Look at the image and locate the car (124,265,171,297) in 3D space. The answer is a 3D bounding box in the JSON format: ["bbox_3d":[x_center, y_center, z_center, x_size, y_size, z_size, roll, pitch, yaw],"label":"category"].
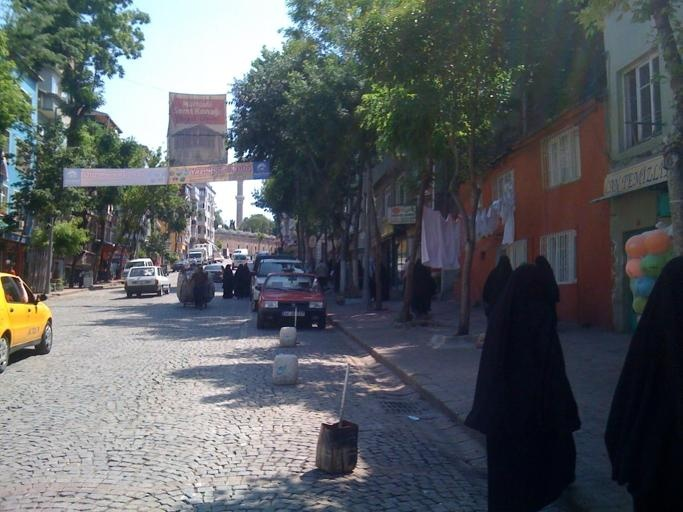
[{"bbox_3d":[-9.799,1.252,34.352,1.106,1.035,2.623,-1,3,-4],"label":"car"}]

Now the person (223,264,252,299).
[{"bbox_3d":[-5.109,1.280,33.079,1.399,1.534,0.599,-4,-9,35],"label":"person"}]

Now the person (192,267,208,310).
[{"bbox_3d":[-5.388,1.134,25.810,0.555,1.832,0.517,-2,23,-15],"label":"person"}]

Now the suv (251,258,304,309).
[{"bbox_3d":[-2.535,0.794,24.795,1.303,1.292,2.308,1,-9,-8],"label":"suv"}]

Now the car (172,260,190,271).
[{"bbox_3d":[-15.280,0.851,63.934,1.118,0.911,2.487,0,5,-4],"label":"car"}]
